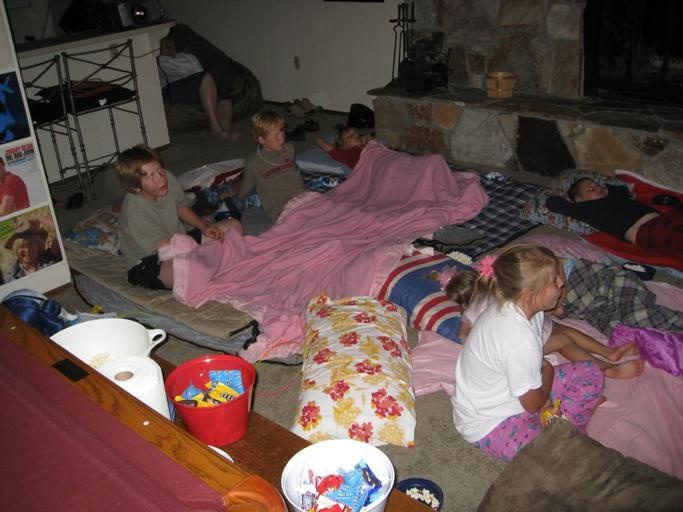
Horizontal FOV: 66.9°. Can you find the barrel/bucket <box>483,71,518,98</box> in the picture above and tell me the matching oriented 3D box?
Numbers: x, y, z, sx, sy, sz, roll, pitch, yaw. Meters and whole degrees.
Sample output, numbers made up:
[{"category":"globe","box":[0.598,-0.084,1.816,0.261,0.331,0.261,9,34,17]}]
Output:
[{"category":"barrel/bucket","box":[1.283,-1.385,4.194,0.247,0.168,0.221,-12,31,-10]}]

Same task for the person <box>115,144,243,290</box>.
[{"category":"person","box":[-0.983,-0.237,2.901,0.443,0.758,0.500,10,24,31]}]

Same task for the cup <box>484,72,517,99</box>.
[{"category":"cup","box":[1.305,-1.396,4.212,0.247,0.169,0.222,-7,33,2]}]

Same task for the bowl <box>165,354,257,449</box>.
[{"category":"bowl","box":[-0.290,0.349,1.316,0.211,0.139,0.214,-2,32,1]}]

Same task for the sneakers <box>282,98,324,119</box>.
[{"category":"sneakers","box":[-0.408,-1.671,5.972,0.348,0.120,0.290,-8,22,-28]}]

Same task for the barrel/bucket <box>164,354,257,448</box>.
[{"category":"barrel/bucket","box":[-0.292,0.345,1.315,0.212,0.139,0.213,-2,31,1]}]

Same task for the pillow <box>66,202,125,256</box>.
[{"category":"pillow","box":[-1.543,-0.164,3.358,0.371,0.066,0.399,15,38,18]}]

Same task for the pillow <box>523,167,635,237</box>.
[{"category":"pillow","box":[1.439,-0.365,3.174,0.520,0.132,0.511,-41,37,-17]}]
